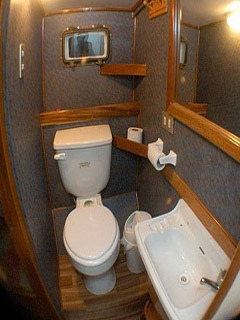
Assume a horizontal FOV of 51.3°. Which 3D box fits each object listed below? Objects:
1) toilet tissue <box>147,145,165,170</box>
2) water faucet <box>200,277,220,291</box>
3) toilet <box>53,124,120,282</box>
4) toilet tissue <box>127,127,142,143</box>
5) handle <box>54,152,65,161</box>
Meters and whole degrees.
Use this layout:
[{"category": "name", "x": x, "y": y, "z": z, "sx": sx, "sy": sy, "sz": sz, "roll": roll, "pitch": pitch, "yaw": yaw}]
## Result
[{"category": "toilet tissue", "x": 0.193, "y": -0.021, "z": 1.334, "sx": 0.081, "sy": 0.094, "sz": 0.202, "roll": 0, "pitch": 22, "yaw": 5}, {"category": "water faucet", "x": 0.280, "y": 0.389, "z": 0.778, "sx": 0.054, "sy": 0.054, "sz": 0.034, "roll": 3, "pitch": 19, "yaw": 14}, {"category": "toilet", "x": -0.204, "y": 0.383, "z": 1.693, "sx": 0.310, "sy": 0.907, "sz": 0.774, "roll": -7, "pitch": 31, "yaw": -8}, {"category": "toilet tissue", "x": 0.108, "y": -0.175, "z": 1.803, "sx": 0.080, "sy": 0.115, "sz": 0.098, "roll": 3, "pitch": 28, "yaw": 2}, {"category": "handle", "x": -0.385, "y": -0.021, "z": 1.598, "sx": 0.046, "sy": 0.059, "sz": 0.013, "roll": 7, "pitch": 34, "yaw": -10}]
